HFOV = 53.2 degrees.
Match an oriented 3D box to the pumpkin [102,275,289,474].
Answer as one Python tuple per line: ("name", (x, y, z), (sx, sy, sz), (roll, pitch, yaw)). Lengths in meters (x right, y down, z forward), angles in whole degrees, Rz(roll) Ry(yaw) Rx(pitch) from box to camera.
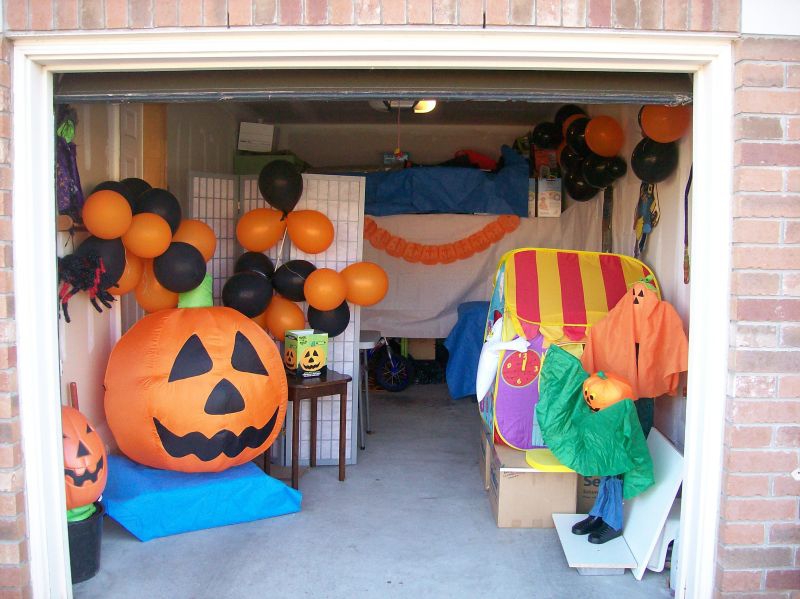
("pumpkin", (-1.237, 0.459, 4.631), (0.887, 0.974, 0.872), (5, -9, -40))

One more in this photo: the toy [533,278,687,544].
("toy", (1.117, 0.596, 4.236), (0.811, 1.332, 0.549), (0, 10, -1))

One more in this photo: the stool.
("stool", (-0.593, 0.817, 5.048), (0.447, 0.673, 0.442), (-1, 3, -28))

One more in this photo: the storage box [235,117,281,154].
("storage box", (-1.380, -1.543, 7.621), (0.310, 0.216, 0.329), (2, 8, 0))

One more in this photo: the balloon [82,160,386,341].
("balloon", (-0.966, -0.277, 4.759), (1.652, 0.989, 0.491), (-2, -14, -40))

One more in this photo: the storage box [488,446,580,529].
("storage box", (0.766, 1.104, 4.577), (0.385, 0.281, 0.431), (1, 6, -6))

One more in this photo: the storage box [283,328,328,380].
("storage box", (-0.596, 0.346, 5.011), (0.234, 0.261, 0.180), (0, 4, -42))

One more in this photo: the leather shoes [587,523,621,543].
("leather shoes", (1.088, 1.250, 4.221), (0.197, 0.088, 0.074), (0, -1, -24))

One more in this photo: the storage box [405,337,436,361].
("storage box", (0.224, 0.488, 7.876), (0.323, 0.196, 0.232), (3, -33, -7))

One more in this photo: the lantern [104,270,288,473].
("lantern", (-1.201, 0.434, 4.773), (1.090, 1.171, 1.069), (-6, 11, -40))

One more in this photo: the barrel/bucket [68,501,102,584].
("barrel/bucket", (-1.552, 1.197, 3.936), (0.094, 0.366, 0.248), (5, 11, 23))

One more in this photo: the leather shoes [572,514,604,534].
("leather shoes", (1.024, 1.209, 4.330), (0.210, 0.092, 0.074), (-3, 6, -24))

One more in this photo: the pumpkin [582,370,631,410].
("pumpkin", (1.058, 0.465, 4.038), (0.190, 0.183, 0.198), (1, 0, -32))
